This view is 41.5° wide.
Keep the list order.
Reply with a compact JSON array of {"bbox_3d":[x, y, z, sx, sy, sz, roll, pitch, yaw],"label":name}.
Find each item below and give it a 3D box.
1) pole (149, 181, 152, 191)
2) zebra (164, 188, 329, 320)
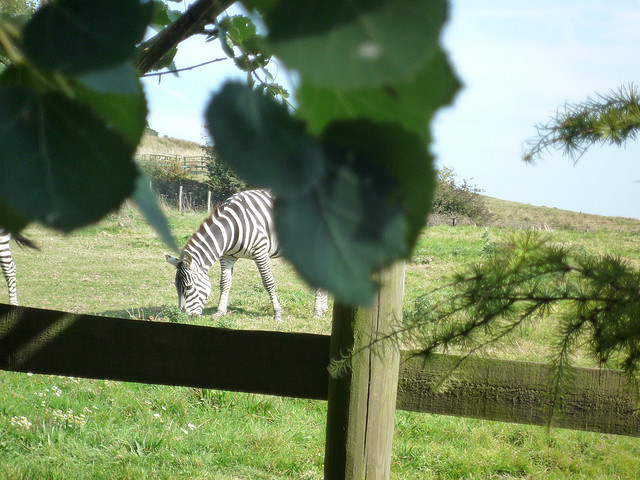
[{"bbox_3d":[-0.924,-0.290,4.578,0.015,0.039,0.026,4,14,-16],"label":"pole"},{"bbox_3d":[-0.776,0.178,11.583,0.818,1.875,3.072,2,10,39],"label":"zebra"}]
